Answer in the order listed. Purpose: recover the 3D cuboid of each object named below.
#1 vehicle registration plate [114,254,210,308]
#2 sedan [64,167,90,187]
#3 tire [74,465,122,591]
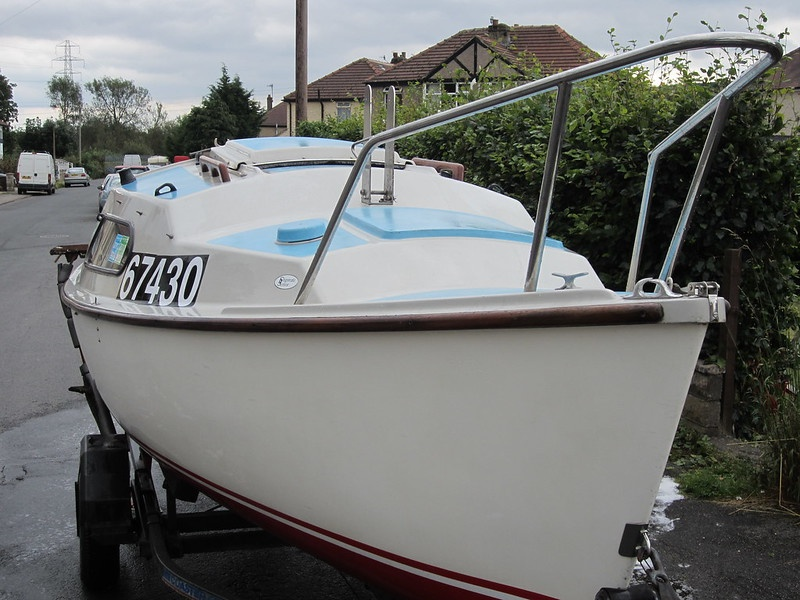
[{"bbox_3d":[-1.325,-0.123,3.600,0.628,0.294,0.029,5,-14,31],"label":"vehicle registration plate"},{"bbox_3d":[-25.301,-9.735,51.617,1.080,0.993,2.740,-2,10,-10],"label":"sedan"},{"bbox_3d":[-1.625,1.228,3.526,0.195,0.711,0.650,2,-5,-13],"label":"tire"}]
